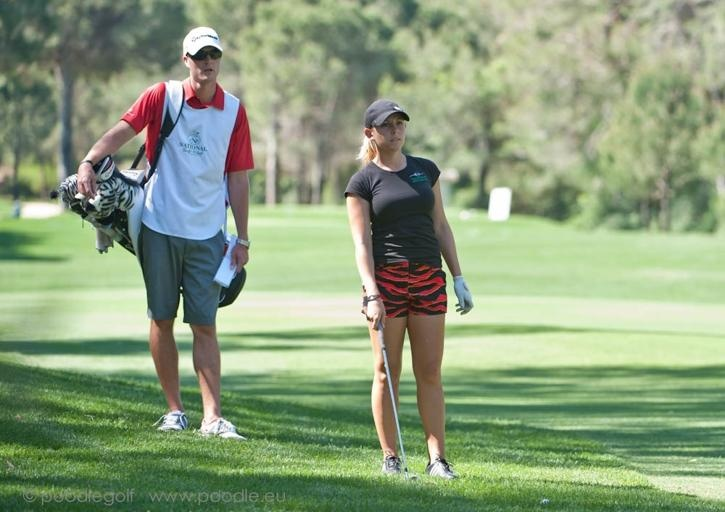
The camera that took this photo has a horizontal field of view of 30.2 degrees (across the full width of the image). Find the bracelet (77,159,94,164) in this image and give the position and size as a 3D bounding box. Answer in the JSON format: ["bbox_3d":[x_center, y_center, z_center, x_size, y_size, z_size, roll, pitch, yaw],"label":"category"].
[{"bbox_3d":[-3.573,-1.226,17.220,0.210,0.069,0.113,8,10,42],"label":"bracelet"}]

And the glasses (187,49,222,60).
[{"bbox_3d":[-2.062,-2.628,17.380,0.464,0.188,0.142,1,7,-8],"label":"glasses"}]

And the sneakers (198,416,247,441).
[{"bbox_3d":[-1.805,2.216,17.321,0.555,0.223,0.279,4,0,7],"label":"sneakers"}]

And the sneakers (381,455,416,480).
[{"bbox_3d":[0.450,2.630,16.677,0.181,0.202,0.526,-5,3,-27],"label":"sneakers"}]

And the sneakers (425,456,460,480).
[{"bbox_3d":[0.987,2.635,16.734,0.388,0.231,0.271,2,7,0],"label":"sneakers"}]

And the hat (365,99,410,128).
[{"bbox_3d":[0.290,-1.815,16.974,0.544,0.353,0.417,1,7,-2],"label":"hat"}]
